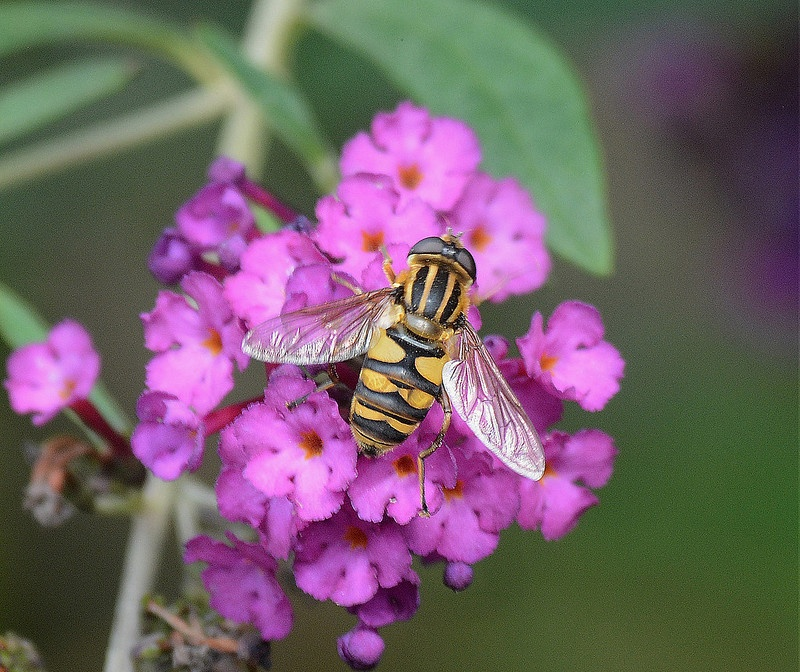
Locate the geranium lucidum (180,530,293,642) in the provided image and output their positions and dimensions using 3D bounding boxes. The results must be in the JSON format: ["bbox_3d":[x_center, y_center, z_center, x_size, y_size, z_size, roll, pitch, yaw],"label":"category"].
[{"bbox_3d":[-0.204,0.325,1.093,0.120,0.161,0.057,-12,16,-20],"label":"geranium lucidum"}]

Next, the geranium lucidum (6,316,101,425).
[{"bbox_3d":[-0.505,0.032,1.260,0.149,0.157,0.134,-13,19,-32],"label":"geranium lucidum"}]

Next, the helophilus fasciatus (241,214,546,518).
[{"bbox_3d":[0.026,0.026,1.158,0.293,0.401,0.466,-2,16,-2],"label":"helophilus fasciatus"}]

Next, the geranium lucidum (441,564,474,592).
[{"bbox_3d":[0.074,0.308,1.072,0.028,0.042,0.022,2,6,5],"label":"geranium lucidum"}]

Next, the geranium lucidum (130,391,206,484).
[{"bbox_3d":[-0.282,0.123,1.019,0.087,0.075,0.078,9,52,6],"label":"geranium lucidum"}]

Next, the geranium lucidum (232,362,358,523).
[{"bbox_3d":[-0.127,0.132,1.046,0.142,0.087,0.186,-8,89,0],"label":"geranium lucidum"}]
